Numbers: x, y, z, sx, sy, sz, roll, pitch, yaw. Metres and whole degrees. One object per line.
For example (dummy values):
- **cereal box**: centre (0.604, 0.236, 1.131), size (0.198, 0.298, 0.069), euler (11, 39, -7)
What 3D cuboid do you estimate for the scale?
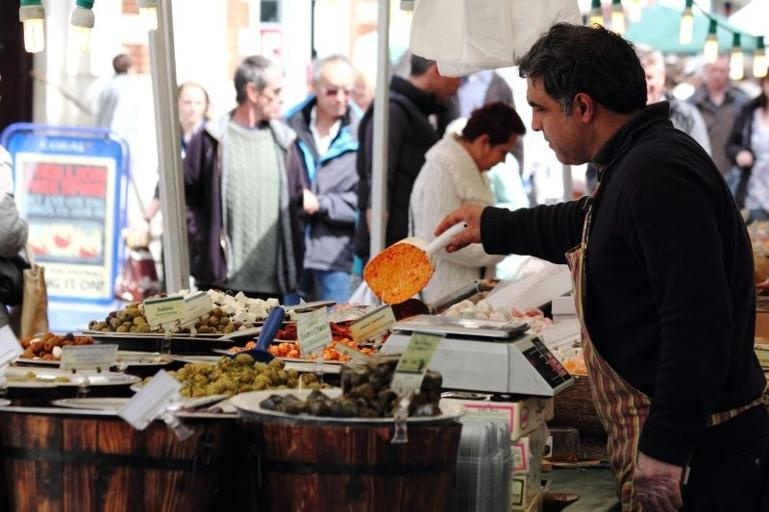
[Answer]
- **scale**: centre (0.357, 0.353, 3.634), size (0.546, 0.347, 0.670), euler (0, -2, 41)

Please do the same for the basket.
- **basket**: centre (0.850, 0.708, 4.074), size (0.257, 0.367, 0.118), euler (-2, 20, 7)

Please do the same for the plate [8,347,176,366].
- **plate**: centre (-1.162, 0.426, 3.846), size (0.645, 0.035, 0.390), euler (2, 2, 15)

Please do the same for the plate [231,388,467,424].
- **plate**: centre (-0.131, 0.495, 3.131), size (0.783, 0.082, 0.351), euler (2, 2, 13)

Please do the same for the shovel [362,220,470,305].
- **shovel**: centre (0.174, 0.014, 4.236), size (0.290, 0.543, 0.080), euler (44, -13, 38)
